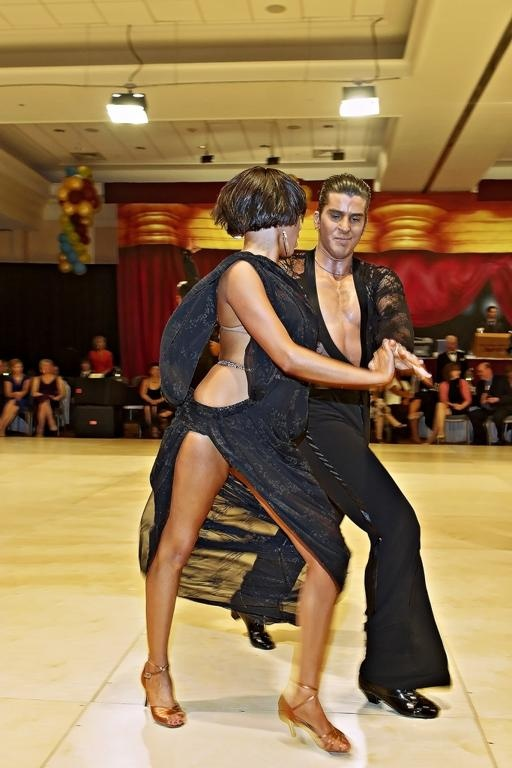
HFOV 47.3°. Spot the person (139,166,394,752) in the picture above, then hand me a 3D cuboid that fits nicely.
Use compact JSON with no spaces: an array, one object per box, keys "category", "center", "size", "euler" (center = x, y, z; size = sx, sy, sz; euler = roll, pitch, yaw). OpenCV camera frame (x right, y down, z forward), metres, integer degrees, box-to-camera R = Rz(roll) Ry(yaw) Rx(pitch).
[{"category":"person","center":[0.000,0.146,1.272],"size":[0.569,1.143,0.368],"euler":[3,3,33]}]

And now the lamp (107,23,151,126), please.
[{"category":"lamp","center":[-1.457,-3.388,6.620],"size":[0.424,0.880,0.793],"euler":[1,2,-11]}]

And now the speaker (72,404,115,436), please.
[{"category":"speaker","center":[-2.583,0.562,9.306],"size":[0.574,0.386,0.539],"euler":[0,-1,-4]}]

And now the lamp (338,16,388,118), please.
[{"category":"lamp","center":[1.084,-3.344,6.427],"size":[0.407,0.815,0.401],"euler":[-11,-4,-15]}]

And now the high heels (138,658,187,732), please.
[{"category":"high heels","center":[-0.187,0.641,1.226],"size":[0.058,0.065,0.169],"euler":[3,8,-28]}]

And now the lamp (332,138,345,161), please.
[{"category":"lamp","center":[1.368,-3.847,9.782],"size":[0.227,0.106,0.586],"euler":[2,2,8]}]

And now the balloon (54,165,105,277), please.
[{"category":"balloon","center":[-2.907,-2.730,9.531],"size":[0.625,1.605,1.029],"euler":[1,3,-19]}]

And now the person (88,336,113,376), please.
[{"category":"person","center":[-2.858,-0.520,10.721],"size":[0.432,0.702,0.677],"euler":[1,2,-16]}]

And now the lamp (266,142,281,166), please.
[{"category":"lamp","center":[0.297,-3.848,9.861],"size":[0.217,0.218,0.205],"euler":[1,10,-2]}]

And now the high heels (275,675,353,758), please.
[{"category":"high heels","center":[0.120,0.644,1.137],"size":[0.180,0.078,0.059],"euler":[4,-12,40]}]

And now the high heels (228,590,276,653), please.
[{"category":"high heels","center":[-0.051,0.740,1.823],"size":[0.077,0.098,0.237],"euler":[-10,7,-32]}]

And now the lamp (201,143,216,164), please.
[{"category":"lamp","center":[-0.813,-3.876,9.865],"size":[0.210,0.230,0.131],"euler":[0,8,2]}]

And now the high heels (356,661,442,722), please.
[{"category":"high heels","center":[0.325,0.710,1.366],"size":[0.187,0.076,0.064],"euler":[8,10,31]}]
